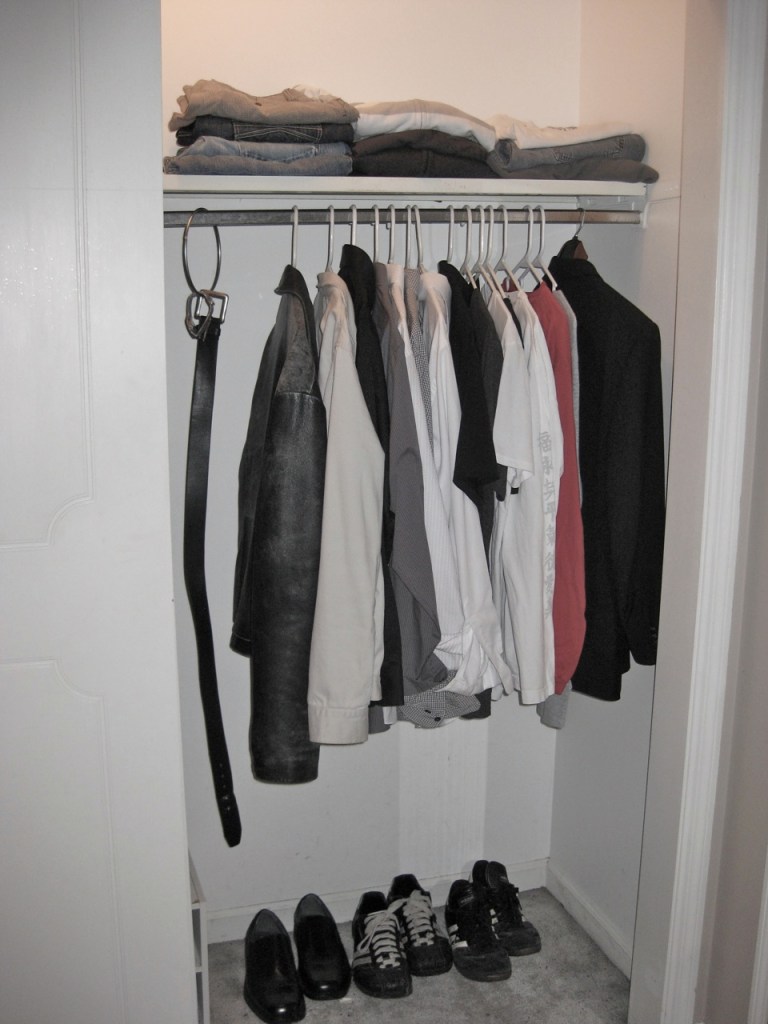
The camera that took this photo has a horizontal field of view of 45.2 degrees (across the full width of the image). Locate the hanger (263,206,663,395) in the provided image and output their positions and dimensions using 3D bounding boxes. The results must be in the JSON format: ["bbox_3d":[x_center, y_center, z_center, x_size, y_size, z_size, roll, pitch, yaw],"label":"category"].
[{"bbox_3d":[0.140,-0.399,1.707,0.688,0.309,0.354,-5,13,-12],"label":"hanger"}]

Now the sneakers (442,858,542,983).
[{"bbox_3d":[0.213,0.853,1.925,0.106,0.074,0.198,0,3,-12],"label":"sneakers"}]

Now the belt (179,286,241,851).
[{"bbox_3d":[-0.278,0.096,1.586,0.098,1.015,0.100,-7,27,-21],"label":"belt"}]
